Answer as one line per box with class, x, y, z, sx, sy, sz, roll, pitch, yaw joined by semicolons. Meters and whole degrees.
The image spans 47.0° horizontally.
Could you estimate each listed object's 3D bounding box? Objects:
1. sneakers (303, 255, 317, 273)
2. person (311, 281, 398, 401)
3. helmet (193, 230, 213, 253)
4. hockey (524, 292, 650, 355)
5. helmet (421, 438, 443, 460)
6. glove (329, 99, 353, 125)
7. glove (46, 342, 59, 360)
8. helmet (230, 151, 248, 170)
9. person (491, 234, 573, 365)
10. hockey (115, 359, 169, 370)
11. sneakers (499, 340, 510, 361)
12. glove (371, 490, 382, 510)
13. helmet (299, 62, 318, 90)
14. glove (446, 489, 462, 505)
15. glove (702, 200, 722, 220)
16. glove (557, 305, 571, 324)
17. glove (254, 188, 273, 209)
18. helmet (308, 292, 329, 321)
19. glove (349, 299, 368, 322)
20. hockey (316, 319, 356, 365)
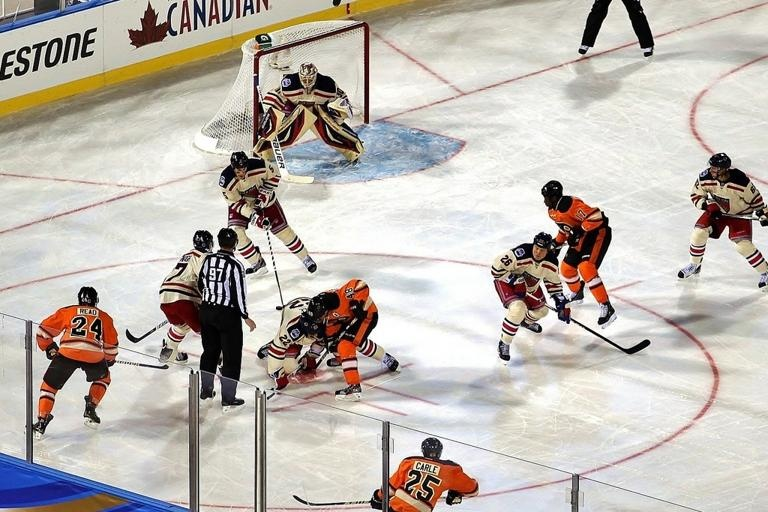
sneakers;-0.766;0.086;9.202;0.084;0.098;0.229;-44;52;3
person;-0.370;0.666;7.505;0.918;0.834;0.638;-8;11;-20
helmet;-1.522;-0.132;7.568;0.216;0.171;0.213;4;12;5
hockey;1.837;0.596;8.249;1.229;0.333;0.088;19;70;31
helmet;0.301;1.158;5.370;0.149;0.127;0.159;2;12;4
glove;-0.570;-1.849;11.286;0.322;0.320;0.199;-4;-21;-33
glove;-2.289;0.666;6.129;0.075;0.092;0.058;-2;8;31
helmet;-1.440;-0.969;8.933;0.230;0.183;0.219;-3;12;-11
person;1.235;0.309;7.892;0.967;1.116;0.399;-25;34;-27
hockey;-1.555;0.701;5.712;0.426;0.023;0.058;7;15;30
sneakers;1.052;0.845;7.808;0.087;0.075;0.206;-1;18;-10
glove;-0.046;1.496;5.432;0.106;0.108;0.135;1;-1;0
helmet;-0.921;-2.215;10.758;0.300;0.297;0.279;-1;58;0
glove;0.417;1.463;5.351;0.091;0.077;0.117;-4;1;-42
glove;3.228;-0.466;8.755;0.243;0.171;0.076;-1;23;10
glove;1.642;0.522;8.103;0.211;0.154;0.069;1;40;2
glove;-1.229;-0.606;9.097;0.087;0.201;0.187;19;39;40
helmet;-0.536;0.425;7.167;0.164;0.219;0.231;-10;28;-1
glove;-0.214;0.451;7.333;0.082;0.154;0.135;-22;17;-19
hockey;-0.399;0.698;7.368;0.202;0.166;0.524;-35;11;-9
